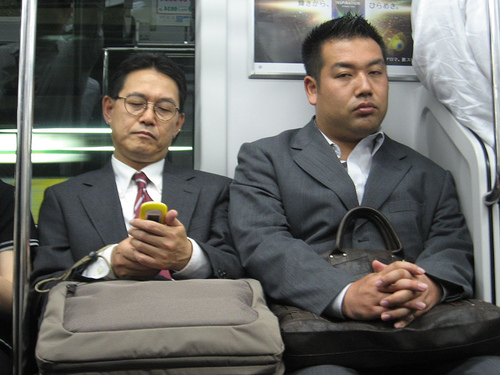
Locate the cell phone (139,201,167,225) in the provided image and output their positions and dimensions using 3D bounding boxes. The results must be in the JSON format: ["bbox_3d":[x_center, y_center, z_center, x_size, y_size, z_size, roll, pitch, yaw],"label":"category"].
[{"bbox_3d":[-0.359,0.098,1.618,0.097,0.098,0.065,3,10,-11],"label":"cell phone"}]

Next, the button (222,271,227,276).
[{"bbox_3d":[-0.110,0.368,1.851,0.017,0.014,0.005,-9,-26,-50],"label":"button"}]

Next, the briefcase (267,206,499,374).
[{"bbox_3d":[0.506,0.402,1.637,0.792,0.291,0.603,1,39,-2],"label":"briefcase"}]

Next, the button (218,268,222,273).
[{"bbox_3d":[-0.125,0.355,1.842,0.014,0.012,0.023,-12,9,-15],"label":"button"}]

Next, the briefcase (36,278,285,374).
[{"bbox_3d":[-0.274,0.430,1.377,0.687,0.176,0.355,1,26,-4],"label":"briefcase"}]
